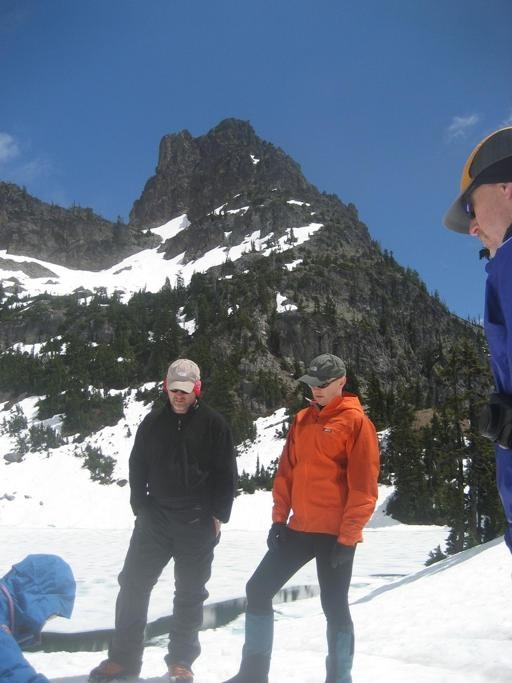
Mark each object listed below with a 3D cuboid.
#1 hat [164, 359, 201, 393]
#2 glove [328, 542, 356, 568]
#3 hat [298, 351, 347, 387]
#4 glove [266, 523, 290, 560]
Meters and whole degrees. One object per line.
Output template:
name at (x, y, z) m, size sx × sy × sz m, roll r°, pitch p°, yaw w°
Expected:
hat at (-0.554, 0.266, 6.425) m, size 0.174 × 0.169 × 0.288 m, roll 5°, pitch 13°, yaw -2°
glove at (0.565, 1.403, 5.564) m, size 0.119 × 0.173 × 0.165 m, roll 8°, pitch -20°, yaw -13°
hat at (0.520, 0.198, 6.086) m, size 0.188 × 0.183 × 0.301 m, roll 4°, pitch 7°, yaw 36°
glove at (0.151, 1.357, 5.807) m, size 0.072 × 0.203 × 0.131 m, roll 15°, pitch -8°, yaw -42°
